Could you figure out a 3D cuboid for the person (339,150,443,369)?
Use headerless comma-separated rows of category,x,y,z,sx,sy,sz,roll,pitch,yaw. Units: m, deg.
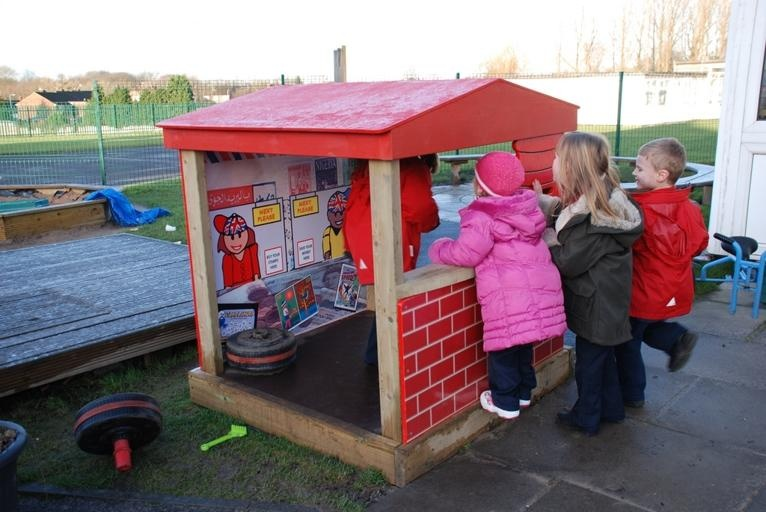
person,0.057,-0.060,4.387,0.790,2.100,0.716,2,-21,-2

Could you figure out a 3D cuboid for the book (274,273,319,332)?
book,-0.846,0.446,5.068,0.022,0.360,0.493,-3,17,34

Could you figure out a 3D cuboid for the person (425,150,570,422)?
person,0.838,0.326,3.760,0.877,2.044,0.519,3,18,17
